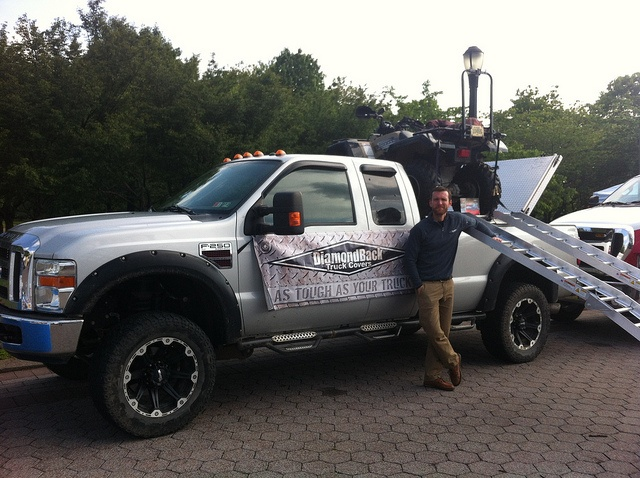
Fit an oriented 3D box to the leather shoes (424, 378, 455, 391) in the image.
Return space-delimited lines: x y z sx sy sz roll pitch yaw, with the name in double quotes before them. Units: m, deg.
"leather shoes" 1.410 1.715 5.634 0.377 0.157 0.138 -1 2 25
